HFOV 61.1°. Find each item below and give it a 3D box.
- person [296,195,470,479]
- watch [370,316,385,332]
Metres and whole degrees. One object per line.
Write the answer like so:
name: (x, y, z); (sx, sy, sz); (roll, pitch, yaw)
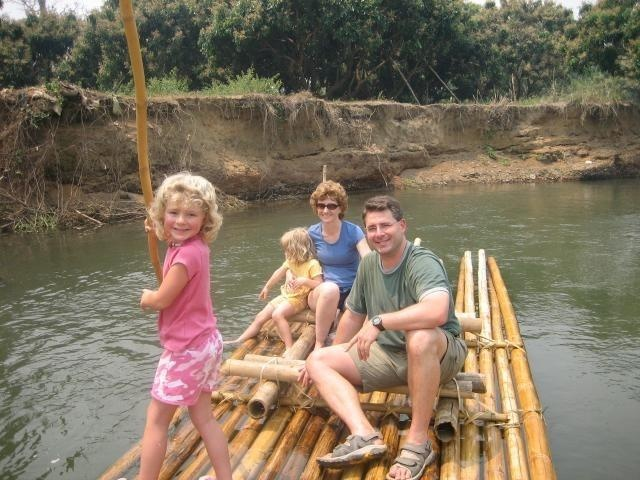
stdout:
person: (0.481, 0.619, 3.893); (1.081, 1.837, 1.012); (-2, 8, 15)
watch: (0.414, 0.592, 3.836); (0.066, 0.110, 0.106); (-31, -15, -3)
